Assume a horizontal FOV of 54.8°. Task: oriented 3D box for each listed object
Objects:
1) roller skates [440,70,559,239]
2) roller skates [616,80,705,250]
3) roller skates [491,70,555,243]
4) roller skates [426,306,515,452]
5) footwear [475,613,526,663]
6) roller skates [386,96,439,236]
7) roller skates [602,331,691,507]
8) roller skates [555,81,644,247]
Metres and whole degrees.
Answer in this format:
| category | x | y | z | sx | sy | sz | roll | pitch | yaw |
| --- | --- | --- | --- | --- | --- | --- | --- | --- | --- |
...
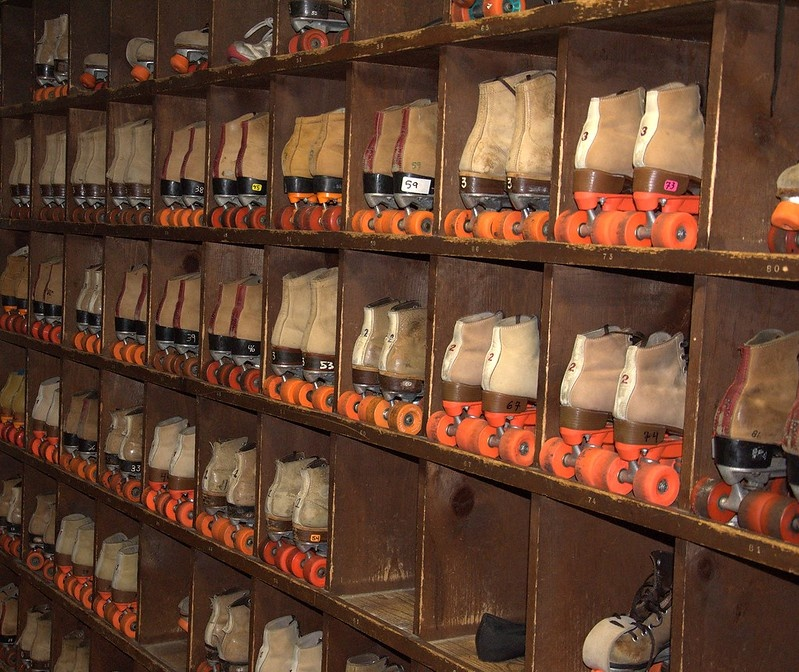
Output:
| category | x | y | z | sx | sy | sz | roll | pitch | yaw |
| --- | --- | --- | --- | --- | --- | --- | --- | --- | --- |
| roller skates | 0.262 | -0.462 | 1.987 | 0.177 | 0.417 | 0.355 | 7 | 10 | 43 |
| roller skates | 0.596 | -0.429 | 1.724 | 0.088 | 0.239 | 0.298 | 5 | 13 | 32 |
| roller skates | 0.324 | -0.457 | 1.951 | 0.141 | 0.428 | 0.101 | -1 | 1 | -42 |
| roller skates | 0.171 | 0.119 | 2.054 | 0.208 | 0.361 | 0.182 | 0 | 1 | 8 |
| footwear | 0.281 | 0.807 | 2.109 | 0.139 | 0.125 | 0.088 | 7 | 1 | -39 |
| roller skates | 0.045 | -0.495 | 2.214 | 0.130 | 0.427 | 0.231 | 0 | 1 | 0 |
| roller skates | 0.609 | 0.170 | 1.735 | 0.323 | 0.371 | 0.129 | -1 | 4 | -35 |
| roller skates | 0.503 | -0.395 | 1.809 | 0.171 | 0.354 | 0.293 | 12 | 13 | 40 |
